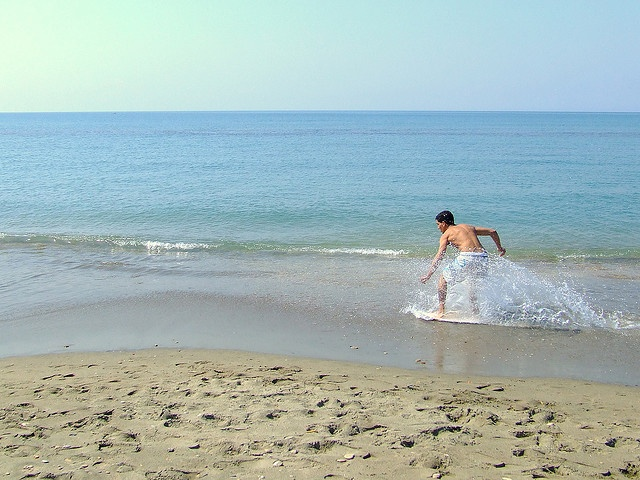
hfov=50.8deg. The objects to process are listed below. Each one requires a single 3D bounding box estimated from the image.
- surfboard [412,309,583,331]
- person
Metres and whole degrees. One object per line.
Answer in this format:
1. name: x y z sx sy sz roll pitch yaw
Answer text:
1. surfboard: 3.108 1.431 11.684 2.975 0.227 0.734 3 17 14
2. person: 2.543 0.429 11.960 0.999 1.819 0.755 -1 11 13
